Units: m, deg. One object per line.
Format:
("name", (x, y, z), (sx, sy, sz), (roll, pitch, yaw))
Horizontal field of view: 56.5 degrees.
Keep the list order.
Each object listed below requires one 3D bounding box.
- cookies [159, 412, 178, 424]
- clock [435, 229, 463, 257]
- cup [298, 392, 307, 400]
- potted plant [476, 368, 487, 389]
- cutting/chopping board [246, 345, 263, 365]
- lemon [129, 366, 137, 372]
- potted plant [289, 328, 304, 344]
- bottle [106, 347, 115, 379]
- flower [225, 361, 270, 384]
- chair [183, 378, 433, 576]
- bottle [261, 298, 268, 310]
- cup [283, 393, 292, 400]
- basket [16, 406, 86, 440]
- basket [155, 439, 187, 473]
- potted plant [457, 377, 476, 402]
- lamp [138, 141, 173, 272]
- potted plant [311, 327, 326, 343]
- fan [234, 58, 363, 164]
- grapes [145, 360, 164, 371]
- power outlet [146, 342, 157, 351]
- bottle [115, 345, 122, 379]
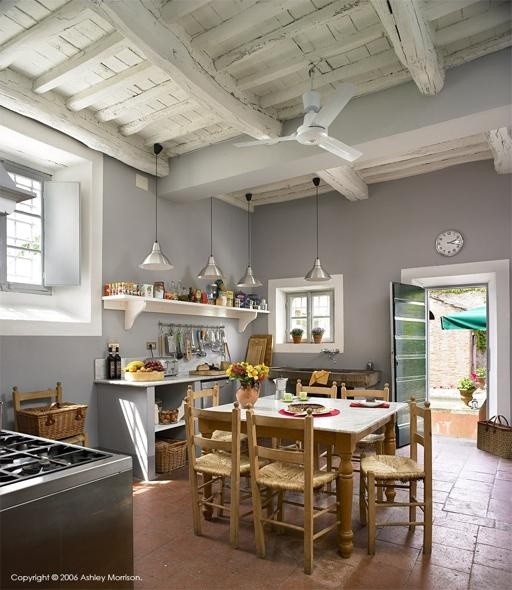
("cookies", (-0.852, 1.176, 4.605), (0.115, 0.045, 0.149), (1, -2, -4))
("clock", (2.213, -0.598, 5.454), (0.042, 0.326, 0.350), (4, -7, -41))
("cup", (0.361, 0.772, 3.702), (0.062, 0.040, 0.055), (1, -9, 7))
("potted plant", (4.126, 1.546, 8.799), (0.142, 0.375, 0.383), (-1, -4, 28))
("cutting/chopping board", (-0.019, 0.830, 6.637), (0.247, 0.247, 0.062), (-9, -31, 38))
("lemon", (-1.114, 0.667, 4.305), (0.079, 0.053, 0.069), (1, -4, -10))
("potted plant", (0.563, 0.561, 6.569), (0.211, 0.189, 0.199), (1, -14, 4))
("bottle", (-1.372, 0.632, 4.531), (0.089, 0.302, 0.044), (-1, -4, 21))
("flower", (-0.064, 0.540, 3.366), (0.248, 0.118, 0.244), (0, -5, 30))
("chair", (0.507, 1.044, 3.214), (1.111, 0.628, 1.093), (-4, -7, 31))
("bottle", (0.109, 0.130, 6.777), (0.108, 0.174, 0.244), (1, -4, 1))
("cup", (0.250, 0.796, 3.746), (0.059, 0.037, 0.042), (1, -7, -14))
("basket", (-1.597, 0.974, 3.758), (0.338, 0.247, 0.433), (-6, -9, 33))
("basket", (-0.768, 1.510, 4.468), (0.235, 0.175, 0.289), (-7, -13, 26))
("potted plant", (3.683, 1.674, 8.355), (0.264, 0.430, 0.306), (-1, -4, 21))
("lamp", (-0.980, -0.892, 4.817), (0.270, 1.339, 1.078), (2, -4, -11))
("potted plant", (0.815, 0.522, 6.344), (0.207, 0.199, 0.193), (2, -14, 0))
("fan", (0.307, -1.249, 3.131), (0.610, 0.490, 0.580), (2, 0, 27))
("grapes", (-0.936, 0.639, 4.375), (0.143, 0.074, 0.095), (11, -1, 21))
("power outlet", (-1.100, 0.533, 5.044), (0.078, 0.086, 0.139), (-3, -5, 32))
("bottle", (-1.323, 0.637, 4.608), (0.065, 0.308, 0.156), (2, -4, -14))
